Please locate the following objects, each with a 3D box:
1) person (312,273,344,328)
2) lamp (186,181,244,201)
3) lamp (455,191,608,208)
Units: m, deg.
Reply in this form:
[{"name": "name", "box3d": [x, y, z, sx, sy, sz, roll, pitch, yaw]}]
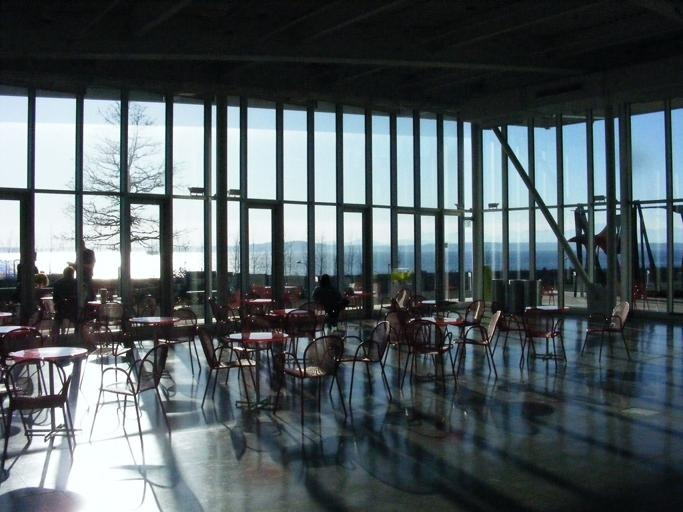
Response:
[{"name": "person", "box3d": [-0.244, 0.928, 14.462, 0.589, 1.403, 0.763, -10, 34, -3]}, {"name": "lamp", "box3d": [-3.211, -1.595, 15.817, 1.408, 0.290, 0.128, -5, 7, -36]}, {"name": "lamp", "box3d": [6.216, -1.668, 19.656, 0.995, 0.563, 4.115, -4, 8, -37]}]
